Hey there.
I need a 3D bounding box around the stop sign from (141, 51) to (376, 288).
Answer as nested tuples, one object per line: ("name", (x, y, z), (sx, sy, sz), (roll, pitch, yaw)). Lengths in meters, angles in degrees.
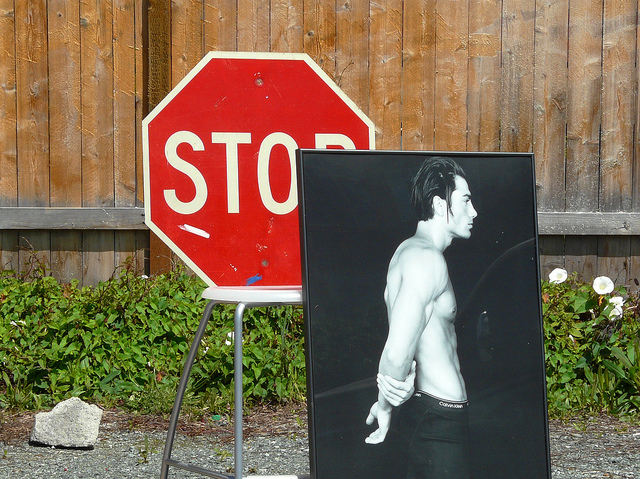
("stop sign", (-0.387, -0.403, 8.954), (1.518, 1.676, 0.061), (0, -4, -9))
